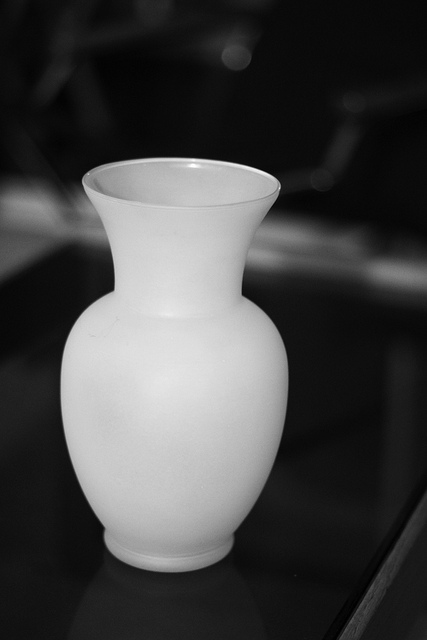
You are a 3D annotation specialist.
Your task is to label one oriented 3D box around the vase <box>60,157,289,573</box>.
[{"bbox_3d":[-0.035,0.036,0.490,0.194,0.291,0.187,-2,7,-22],"label":"vase"}]
